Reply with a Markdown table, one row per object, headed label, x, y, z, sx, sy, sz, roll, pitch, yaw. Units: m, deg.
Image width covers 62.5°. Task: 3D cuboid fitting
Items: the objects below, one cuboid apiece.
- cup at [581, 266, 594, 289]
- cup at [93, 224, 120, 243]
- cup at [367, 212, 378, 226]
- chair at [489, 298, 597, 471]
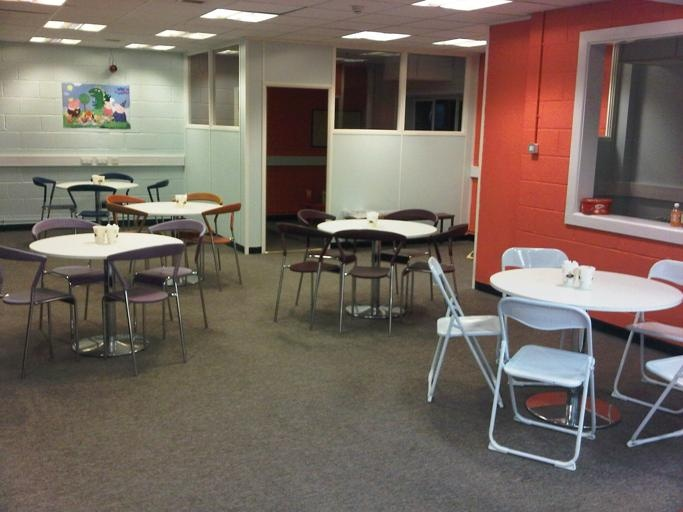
| label | x | y | z | sx | sy | sz | roll | pitch | yaw |
| --- | --- | --- | --- | --- | --- | --- | --- | --- | --- |
| cup | 1.783 | 0.145 | 4.088 | 0.094 | 0.152 | 0.182 | 4 | 11 | 23 |
| cup | -2.210 | -0.190 | 5.248 | 0.261 | 0.153 | 0.174 | 0 | 2 | -18 |
| cup | 0.364 | -0.432 | 6.441 | 0.149 | 0.125 | 0.134 | -4 | 14 | -24 |
| chair | 1.453 | 0.738 | 3.955 | 0.724 | 1.067 | 1.049 | 4 | 11 | 21 |
